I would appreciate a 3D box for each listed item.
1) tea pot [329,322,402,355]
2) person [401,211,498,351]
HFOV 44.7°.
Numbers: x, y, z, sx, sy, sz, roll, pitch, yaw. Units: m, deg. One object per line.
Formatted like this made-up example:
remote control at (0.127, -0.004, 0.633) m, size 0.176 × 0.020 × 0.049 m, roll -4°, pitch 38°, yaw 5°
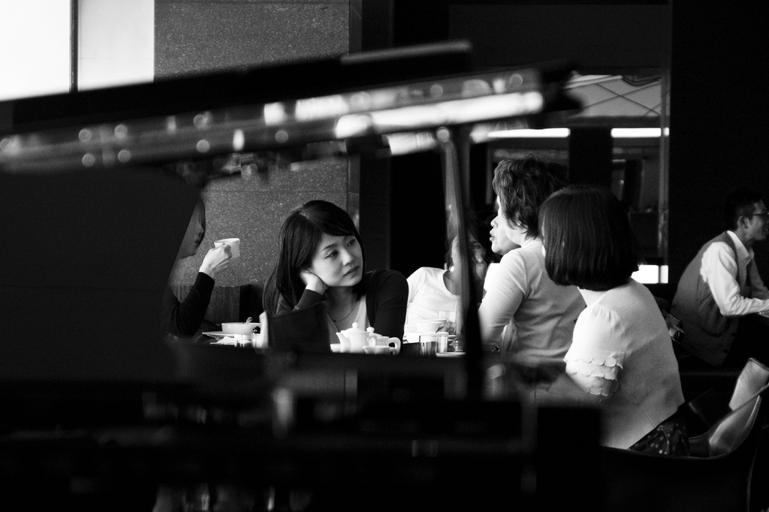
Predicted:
tea pot at (-0.045, 0.215, 2.340) m, size 0.163 × 0.069 × 0.104 m, roll 1°, pitch -4°, yaw 13°
person at (0.186, 0.071, 2.804) m, size 0.296 × 0.225 × 0.757 m, roll -15°, pitch -1°, yaw -8°
